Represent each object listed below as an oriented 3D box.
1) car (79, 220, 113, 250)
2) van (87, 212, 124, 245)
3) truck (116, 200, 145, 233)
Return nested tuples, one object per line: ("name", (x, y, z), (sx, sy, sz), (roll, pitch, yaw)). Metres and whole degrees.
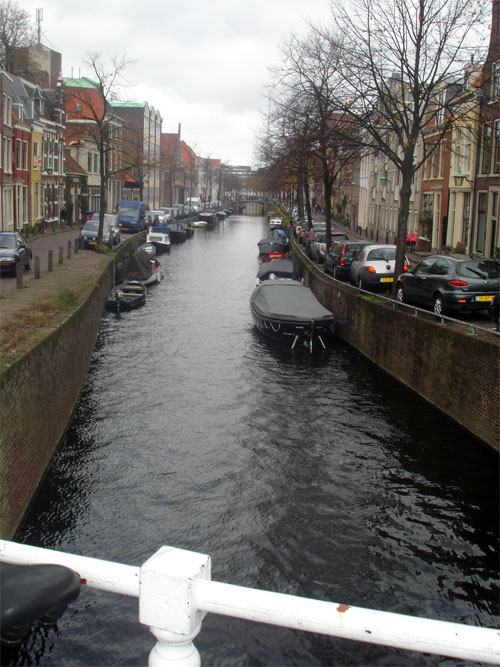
("car", (-11.672, -7.483, 39.863), (2.159, 1.974, 3.679), (0, 11, -4))
("van", (-11.992, -8.827, 44.115), (2.035, 2.039, 4.241), (0, 11, -7))
("truck", (-13.312, -13.127, 59.036), (2.217, 2.843, 5.307), (0, 17, -5))
